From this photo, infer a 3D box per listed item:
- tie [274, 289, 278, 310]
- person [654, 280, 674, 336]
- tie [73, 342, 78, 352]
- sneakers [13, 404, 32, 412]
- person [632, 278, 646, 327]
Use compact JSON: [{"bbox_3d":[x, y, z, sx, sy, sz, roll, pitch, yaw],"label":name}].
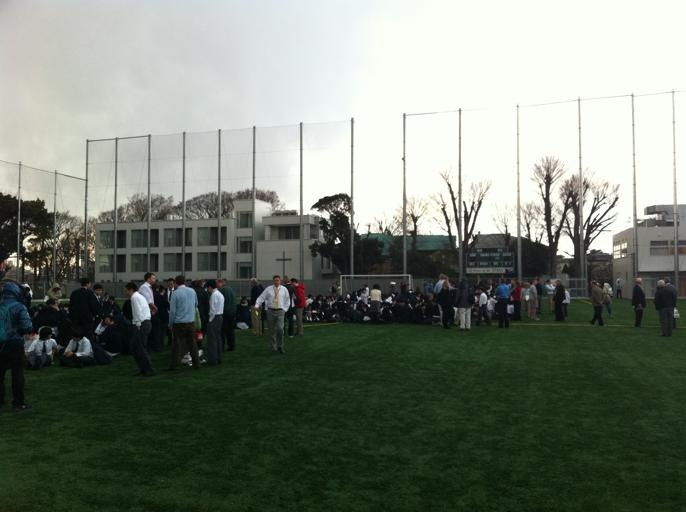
[{"bbox_3d":[-1.785,1.123,19.117,0.133,0.571,0.093,0,3,4],"label":"tie"},{"bbox_3d":[10.554,1.686,23.115,0.606,1.804,1.217,2,4,25],"label":"person"},{"bbox_3d":[-6.572,2.194,17.343,0.107,0.250,0.119,1,4,22],"label":"tie"},{"bbox_3d":[-5.949,2.793,13.085,0.270,0.213,0.098,0,-3,-13],"label":"sneakers"},{"bbox_3d":[11.060,1.723,26.356,0.385,1.852,1.052,1,4,23],"label":"person"}]
